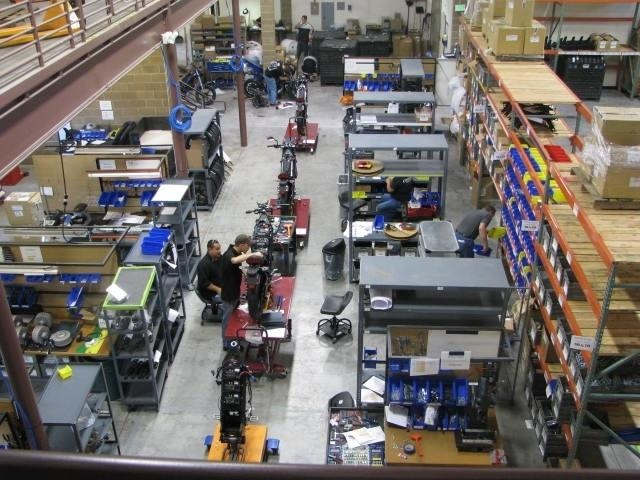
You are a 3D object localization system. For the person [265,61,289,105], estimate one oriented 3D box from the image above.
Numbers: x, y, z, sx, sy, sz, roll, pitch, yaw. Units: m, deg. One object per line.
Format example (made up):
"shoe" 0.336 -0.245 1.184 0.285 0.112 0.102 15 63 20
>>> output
"person" -1.517 -5.386 18.604 0.726 1.403 1.028 -4 22 -3

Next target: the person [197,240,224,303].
"person" -1.768 0.541 8.738 0.560 0.954 0.643 3 36 -4

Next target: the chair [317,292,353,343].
"chair" 0.261 1.298 8.833 0.475 0.663 0.434 13 37 16

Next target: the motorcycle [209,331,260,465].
"motorcycle" -1.075 2.060 6.739 0.773 1.353 1.160 -7 22 -10

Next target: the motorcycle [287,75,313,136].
"motorcycle" -0.491 -4.078 15.496 0.815 1.055 1.882 -1 52 4

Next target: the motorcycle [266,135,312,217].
"motorcycle" -0.642 -1.402 11.590 0.933 1.198 1.942 1 44 3

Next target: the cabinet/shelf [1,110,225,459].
"cabinet/shelf" -3.031 0.647 8.035 2.792 3.349 5.033 0 52 -2

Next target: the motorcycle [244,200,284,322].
"motorcycle" -0.886 0.360 8.291 0.648 0.885 1.606 0 36 1

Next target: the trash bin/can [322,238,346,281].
"trash bin/can" 0.276 0.388 10.005 0.405 0.693 0.424 11 36 14
